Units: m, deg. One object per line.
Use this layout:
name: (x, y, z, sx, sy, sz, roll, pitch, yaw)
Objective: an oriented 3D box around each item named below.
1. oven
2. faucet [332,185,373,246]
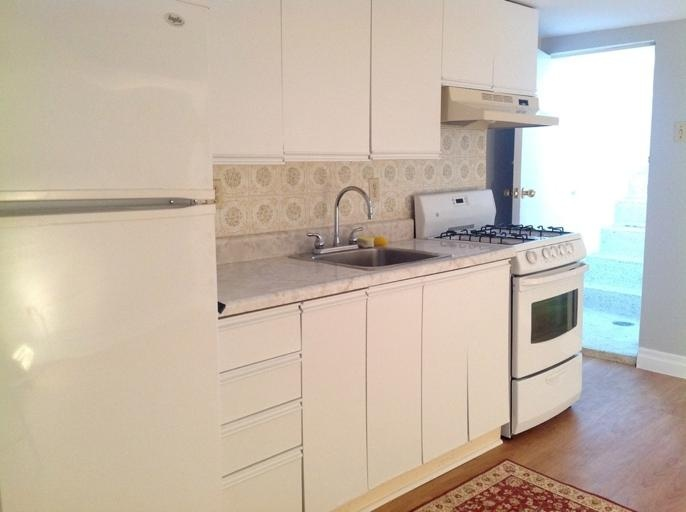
oven: (1.149, 0.377, 3.076, 0.682, 0.594, 0.471, -6, 6, -33)
faucet: (0.053, -0.227, 2.795, 0.209, 0.322, 0.502, -1, 11, 2)
